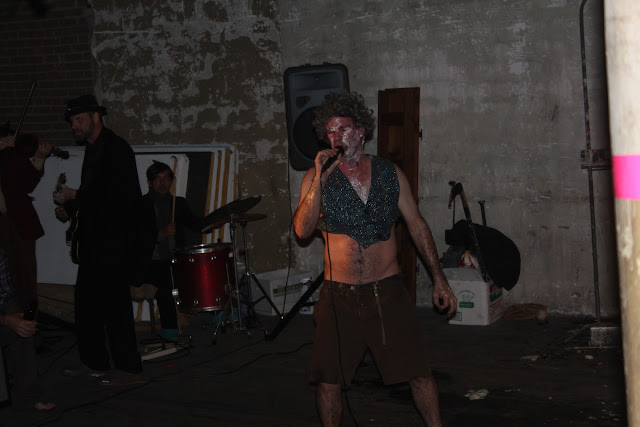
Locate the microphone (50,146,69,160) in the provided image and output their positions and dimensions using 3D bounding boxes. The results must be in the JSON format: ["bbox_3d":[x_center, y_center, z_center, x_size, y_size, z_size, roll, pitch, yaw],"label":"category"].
[{"bbox_3d":[-3.223,-0.741,7.883,0.252,0.142,0.109,17,34,21],"label":"microphone"}]

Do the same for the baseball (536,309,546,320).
[{"bbox_3d":[2.808,1.280,8.060,0.135,0.127,0.090,0,0,-5],"label":"baseball"}]

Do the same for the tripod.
[{"bbox_3d":[-0.653,0.862,8.019,1.085,1.445,0.970,-8,23,7],"label":"tripod"}]

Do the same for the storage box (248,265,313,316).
[{"bbox_3d":[-0.523,1.029,8.611,0.547,0.495,0.804,1,7,38],"label":"storage box"}]

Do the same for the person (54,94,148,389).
[{"bbox_3d":[-2.375,0.279,6.988,0.829,2.959,0.532,-1,0,-1],"label":"person"}]

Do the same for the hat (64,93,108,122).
[{"bbox_3d":[-2.545,-1.180,7.007,0.312,0.143,0.366,-9,0,12],"label":"hat"}]

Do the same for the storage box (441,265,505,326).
[{"bbox_3d":[1.978,1.032,8.236,0.798,0.653,0.811,-4,2,9],"label":"storage box"}]

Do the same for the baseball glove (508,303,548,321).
[{"bbox_3d":[2.625,1.257,8.113,0.351,0.063,0.252,0,30,14],"label":"baseball glove"}]

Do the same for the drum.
[{"bbox_3d":[-1.408,0.742,7.741,0.726,0.728,0.726,-1,9,21],"label":"drum"}]

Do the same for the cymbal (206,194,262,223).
[{"bbox_3d":[-1.067,-0.008,7.618,0.724,0.160,0.809,-22,12,-6],"label":"cymbal"}]
